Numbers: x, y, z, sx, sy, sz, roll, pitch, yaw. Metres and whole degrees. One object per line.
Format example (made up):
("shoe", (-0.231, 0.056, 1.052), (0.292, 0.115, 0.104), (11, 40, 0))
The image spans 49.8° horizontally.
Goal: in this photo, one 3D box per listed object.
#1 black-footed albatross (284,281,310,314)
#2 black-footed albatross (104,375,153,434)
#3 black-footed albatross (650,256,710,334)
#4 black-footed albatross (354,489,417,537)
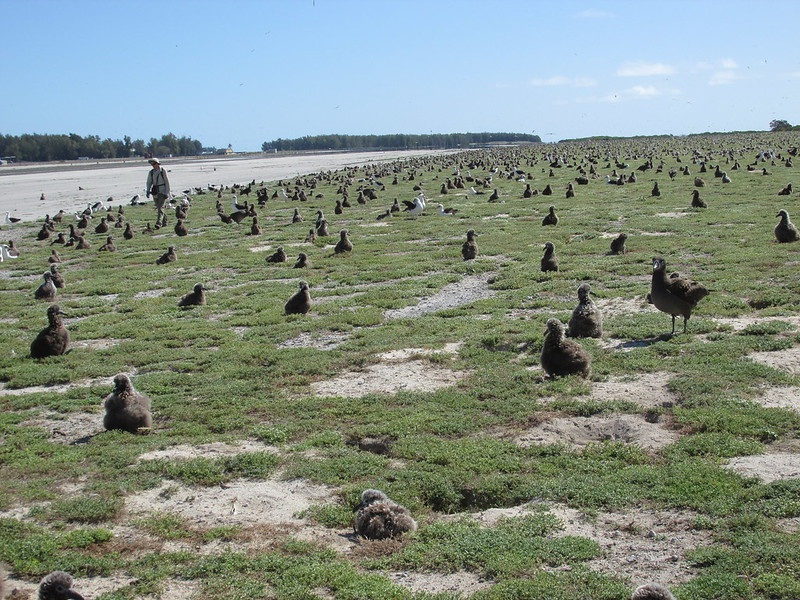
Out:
("black-footed albatross", (-3.299, -0.032, 27.634), (0.807, 1.051, 0.442), (-3, 11, -10))
("black-footed albatross", (-6.339, 2.488, 20.154), (1.175, 1.061, 1.465), (2, 28, -24))
("black-footed albatross", (7.347, -0.125, 23.051), (1.243, 2.080, 1.267), (-1, 10, 3))
("black-footed albatross", (-0.299, 4.167, 16.730), (1.168, 0.653, 0.787), (-2, 10, -4))
